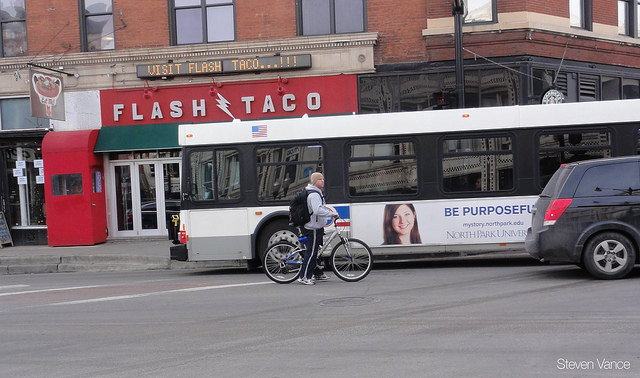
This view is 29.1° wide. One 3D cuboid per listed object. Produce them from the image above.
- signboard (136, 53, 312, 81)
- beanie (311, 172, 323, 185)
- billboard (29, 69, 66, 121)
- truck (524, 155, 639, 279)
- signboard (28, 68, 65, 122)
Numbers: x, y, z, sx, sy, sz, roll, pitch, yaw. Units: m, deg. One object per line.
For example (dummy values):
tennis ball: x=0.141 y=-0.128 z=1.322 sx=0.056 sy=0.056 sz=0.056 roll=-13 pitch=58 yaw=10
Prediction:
signboard: x=-3.542 y=-4.536 z=45.839 sx=6.635 sy=0.713 sz=0.407 roll=-3 pitch=7 yaw=10
beanie: x=-0.096 y=-0.331 z=37.903 sx=0.341 sy=0.325 sz=0.343 roll=-3 pitch=11 yaw=0
billboard: x=-9.970 y=-3.460 z=45.239 sx=0.067 sy=1.828 sz=1.828 roll=-7 pitch=-7 yaw=31
truck: x=8.008 y=0.911 z=36.915 sx=3.129 sy=3.556 sz=1.078 roll=-2 pitch=12 yaw=6
signboard: x=-9.979 y=-3.509 z=45.279 sx=0.121 sy=2.187 sz=2.239 roll=-3 pitch=-1 yaw=40
